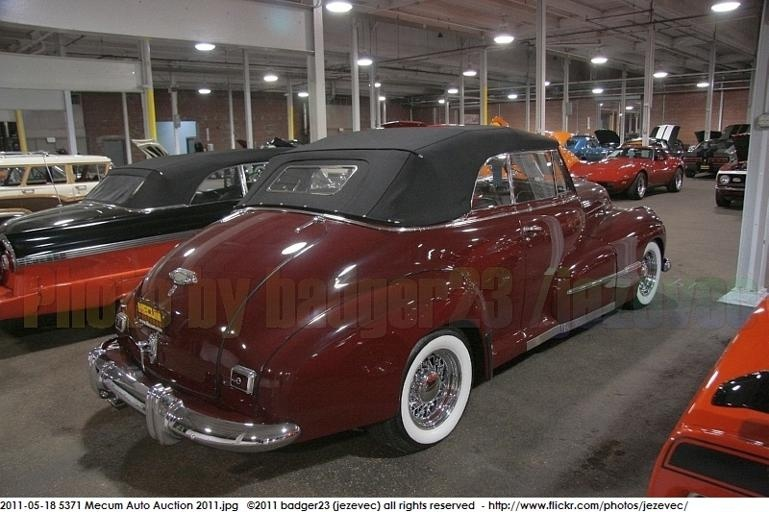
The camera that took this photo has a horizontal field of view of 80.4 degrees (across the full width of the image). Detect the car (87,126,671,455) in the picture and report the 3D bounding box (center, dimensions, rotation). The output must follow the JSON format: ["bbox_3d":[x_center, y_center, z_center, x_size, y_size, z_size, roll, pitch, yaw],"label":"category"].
[{"bbox_3d":[0.040,0.113,3.778,4.258,2.292,1.609,-11,16,-34],"label":"car"}]
